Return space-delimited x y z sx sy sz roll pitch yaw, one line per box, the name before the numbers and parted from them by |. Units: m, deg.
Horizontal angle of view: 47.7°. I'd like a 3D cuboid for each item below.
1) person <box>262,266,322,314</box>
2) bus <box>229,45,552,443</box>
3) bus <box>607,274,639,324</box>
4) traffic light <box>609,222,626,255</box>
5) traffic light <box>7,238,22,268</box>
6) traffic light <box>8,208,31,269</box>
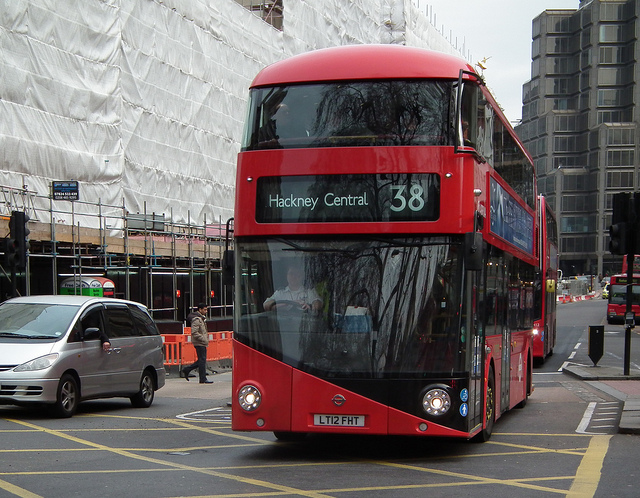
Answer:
person | -0.320 0.471 8.504 0.679 0.537 0.113 0 -2 -1
bus | 1.250 0.060 9.668 2.599 5.358 4.794 -2 -2 41
bus | 19.701 3.190 46.726 1.750 3.221 3.297 0 -2 3
traffic light | 7.480 -0.302 18.172 0.389 0.775 0.932 -1 -2 23
traffic light | -6.635 0.072 15.687 0.286 0.628 0.394 1 -2 -28
traffic light | -6.716 -0.226 16.101 0.412 1.300 1.202 0 -2 -23
